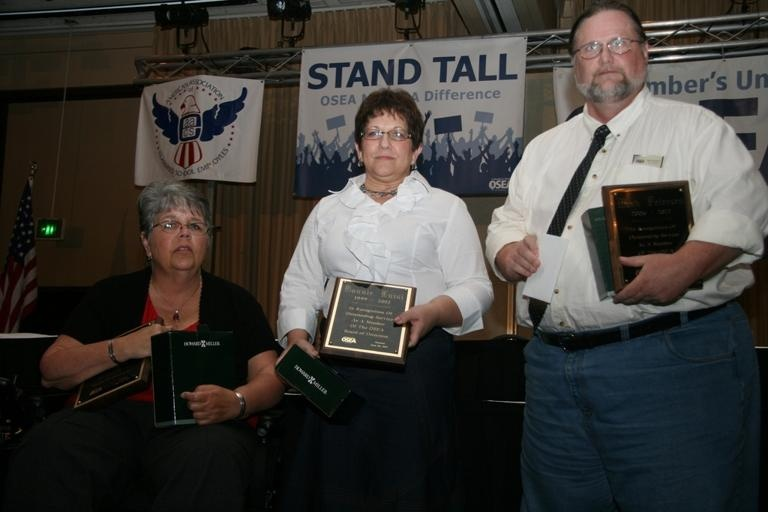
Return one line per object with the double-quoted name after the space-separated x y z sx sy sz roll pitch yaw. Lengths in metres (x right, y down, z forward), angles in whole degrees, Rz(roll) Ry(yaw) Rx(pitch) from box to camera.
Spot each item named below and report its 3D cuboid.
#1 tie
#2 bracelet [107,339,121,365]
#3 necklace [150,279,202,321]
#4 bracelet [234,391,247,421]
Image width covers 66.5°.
0.806 -0.098 2.513 0.097 0.934 0.104 22 -1 -23 "tie"
-1.271 0.458 2.755 0.070 0.116 0.035 6 11 31 "bracelet"
-1.030 0.260 2.998 0.163 0.252 0.058 0 -19 -5 "necklace"
-0.657 0.690 2.728 0.027 0.099 0.081 -7 -3 -28 "bracelet"
